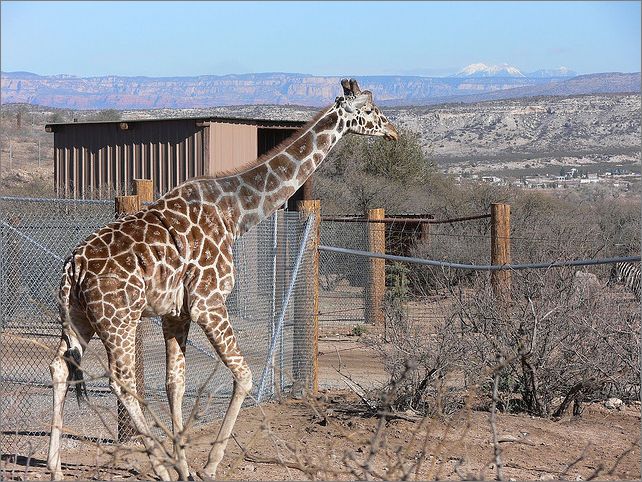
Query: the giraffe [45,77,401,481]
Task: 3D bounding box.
[{"bbox_3d":[-1.280,0.526,11.228,3.587,4.178,1.347,-3,5,-39],"label":"giraffe"}]
